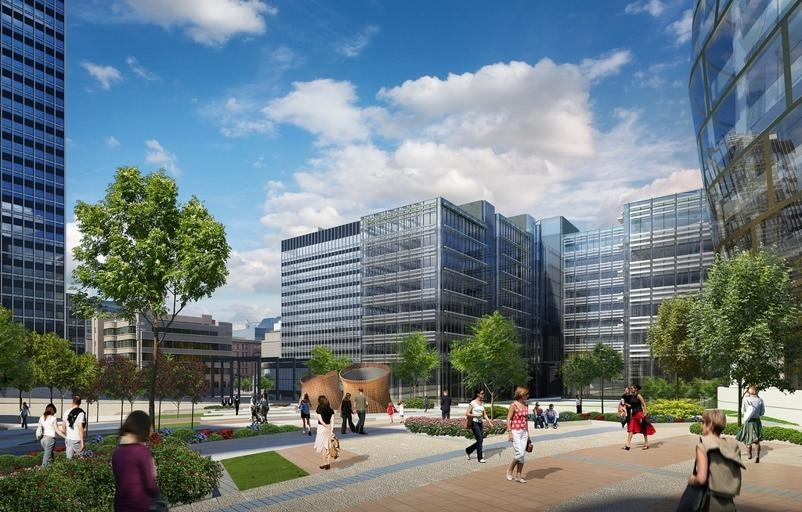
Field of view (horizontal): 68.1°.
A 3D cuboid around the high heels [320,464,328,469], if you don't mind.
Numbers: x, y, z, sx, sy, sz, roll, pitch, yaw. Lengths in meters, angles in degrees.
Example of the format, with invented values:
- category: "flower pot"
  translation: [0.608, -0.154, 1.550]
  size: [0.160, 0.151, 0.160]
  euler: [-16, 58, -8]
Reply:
- category: "high heels"
  translation: [-3.538, 9.477, 26.932]
  size: [0.153, 0.188, 0.464]
  euler: [5, -6, -36]

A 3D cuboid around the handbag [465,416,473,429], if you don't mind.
- category: "handbag"
  translation: [3.013, 7.370, 26.716]
  size: [0.484, 0.436, 0.314]
  euler: [6, -18, -30]
